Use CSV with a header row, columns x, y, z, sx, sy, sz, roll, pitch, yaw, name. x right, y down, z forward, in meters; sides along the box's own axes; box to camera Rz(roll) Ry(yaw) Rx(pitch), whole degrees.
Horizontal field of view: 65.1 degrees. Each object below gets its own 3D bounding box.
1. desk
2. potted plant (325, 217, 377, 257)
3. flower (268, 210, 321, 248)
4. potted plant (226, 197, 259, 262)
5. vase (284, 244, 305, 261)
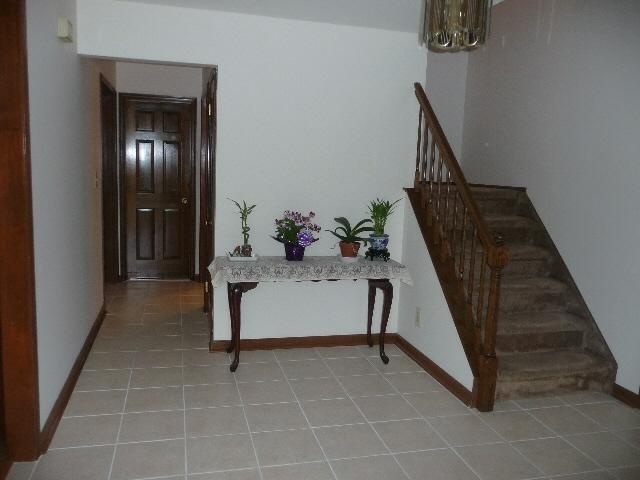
x,y,z,sx,sy,sz,roll,pitch,yaw,name
-0.102,0.646,4.567,1.667,1.043,0.802,1,9,-9,desk
0.309,-0.027,4.586,0.354,0.284,0.361,3,-1,-37,potted plant
-0.209,-0.088,4.467,0.385,0.335,0.396,-2,8,-2,flower
-0.683,-0.098,4.422,0.269,0.503,0.255,-3,8,-8,potted plant
-0.223,0.109,4.342,0.134,0.113,0.143,0,5,-2,vase
